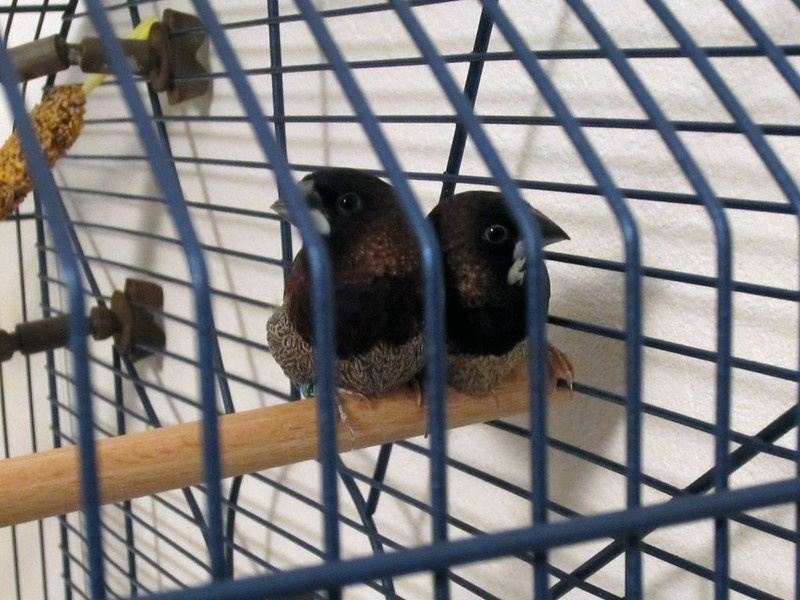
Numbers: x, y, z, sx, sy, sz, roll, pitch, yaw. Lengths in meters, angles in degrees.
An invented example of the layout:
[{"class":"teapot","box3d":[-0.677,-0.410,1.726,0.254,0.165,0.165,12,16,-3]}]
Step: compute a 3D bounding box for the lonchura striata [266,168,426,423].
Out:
[{"class":"lonchura striata","box3d":[-0.050,-0.001,0.764,0.112,0.219,0.151,-14,30,-23]}]
